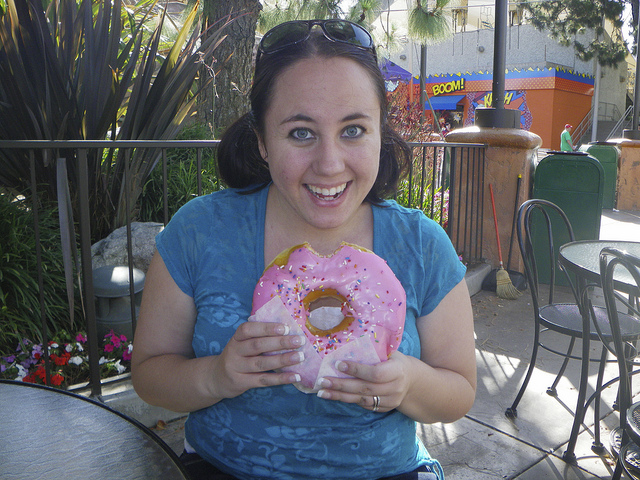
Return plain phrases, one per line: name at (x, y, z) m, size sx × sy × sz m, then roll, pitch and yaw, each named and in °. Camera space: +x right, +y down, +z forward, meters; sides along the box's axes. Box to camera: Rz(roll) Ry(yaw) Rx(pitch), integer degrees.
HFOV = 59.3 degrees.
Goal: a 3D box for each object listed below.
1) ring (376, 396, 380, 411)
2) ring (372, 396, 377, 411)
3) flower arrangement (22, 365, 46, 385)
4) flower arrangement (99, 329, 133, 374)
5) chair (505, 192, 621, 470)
ring at (0.222, 0.645, 2.186) m, size 0.009 × 0.041 × 0.037 m, roll 4°, pitch 25°, yaw 11°
ring at (0.207, 0.636, 2.176) m, size 0.014 × 0.037 × 0.045 m, roll 0°, pitch -30°, yaw 6°
flower arrangement at (-2.061, 0.981, 4.043) m, size 0.145 × 0.115 × 0.100 m, roll -4°, pitch 6°, yaw -25°
flower arrangement at (-1.594, 0.877, 4.367) m, size 0.236 × 0.270 × 0.404 m, roll -3°, pitch 6°, yaw -24°
chair at (1.768, 0.613, 4.058) m, size 0.787 × 1.663 × 0.783 m, roll 7°, pitch 5°, yaw 24°
